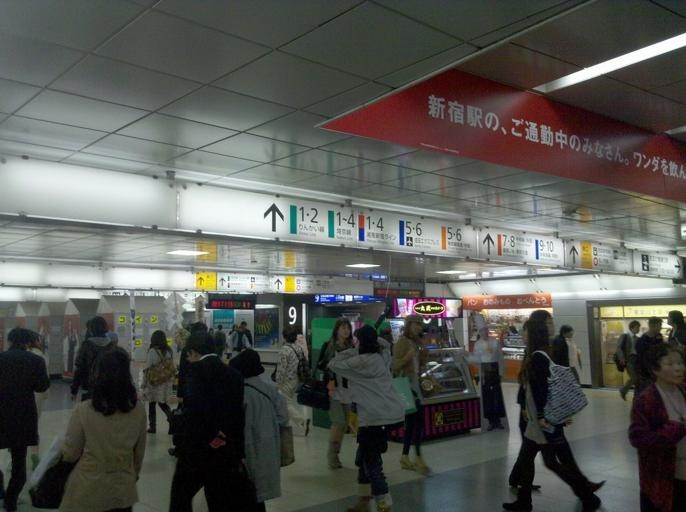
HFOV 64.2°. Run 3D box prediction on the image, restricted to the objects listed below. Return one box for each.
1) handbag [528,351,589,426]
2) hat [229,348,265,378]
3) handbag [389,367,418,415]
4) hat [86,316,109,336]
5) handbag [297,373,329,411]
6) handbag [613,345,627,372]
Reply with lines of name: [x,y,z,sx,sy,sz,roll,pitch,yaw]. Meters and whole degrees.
handbag: [2.225,1.356,5.571,0.449,0.765,0.241,-3,-6,19]
hat: [-0.864,0.964,4.874,0.293,0.273,0.421,0,-6,-12]
handbag: [0.769,1.792,6.807,0.262,0.500,0.592,-2,-6,6]
hat: [-3.215,0.931,7.163,0.207,0.258,0.206,3,-7,-38]
handbag: [-0.343,1.797,7.157,0.410,0.366,0.674,3,-7,-34]
handbag: [6.548,2.478,12.860,0.236,0.647,0.476,-9,12,12]
